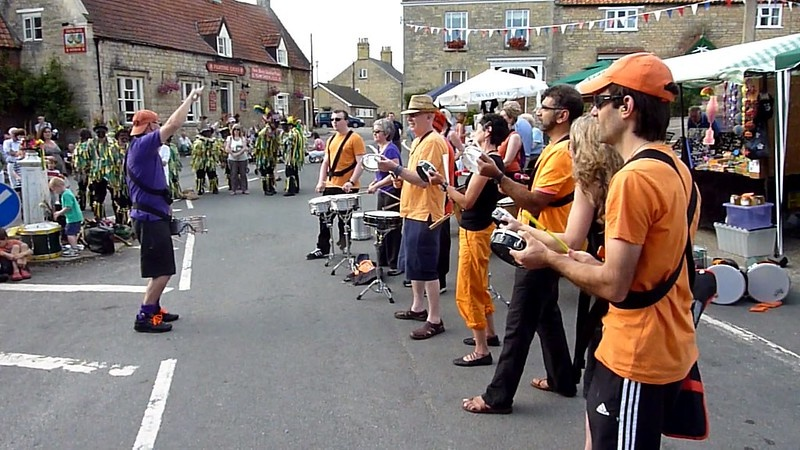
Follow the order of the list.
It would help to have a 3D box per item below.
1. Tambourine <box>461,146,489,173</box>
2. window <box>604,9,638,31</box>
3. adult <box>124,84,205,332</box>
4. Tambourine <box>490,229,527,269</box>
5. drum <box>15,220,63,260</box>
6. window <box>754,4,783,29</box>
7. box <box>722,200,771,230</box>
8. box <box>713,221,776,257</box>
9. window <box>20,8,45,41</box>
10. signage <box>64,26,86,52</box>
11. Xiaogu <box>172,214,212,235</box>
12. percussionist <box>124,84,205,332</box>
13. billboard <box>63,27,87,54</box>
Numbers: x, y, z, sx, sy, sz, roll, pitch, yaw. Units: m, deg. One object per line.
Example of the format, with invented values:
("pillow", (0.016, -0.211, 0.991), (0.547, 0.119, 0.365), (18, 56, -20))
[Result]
("Tambourine", (0.928, -0.825, 8.300), (0.262, 0.335, 0.142), (24, 54, 19))
("window", (12.910, -11.796, 37.334), (2.187, 1.195, 1.869), (-1, 13, 0))
("adult", (-3.760, -0.043, 10.011), (0.961, 3.381, 0.680), (-6, 15, -21))
("Tambourine", (1.125, 0.233, 6.902), (0.388, 0.383, 0.142), (19, 60, 35))
("drum", (-7.101, 0.270, 12.821), (0.689, 0.608, 0.692), (-5, 11, -39))
("window", (21.095, -11.817, 36.968), (1.311, 1.269, 0.914), (5, 14, 22))
("box", (6.647, -0.199, 12.518), (0.494, 0.332, 0.650), (-1, 10, -4))
("box", (6.601, 0.280, 12.611), (0.592, 0.422, 0.837), (0, 6, -12))
("window", (-17.605, -9.525, 30.996), (1.435, 1.488, 0.457), (6, 15, 25))
("signage", (-14.919, -8.575, 29.838), (1.252, 1.211, 0.129), (3, 2, 18))
("Xiaogu", (-3.392, 0.023, 10.539), (0.454, 0.328, 0.164), (-9, 27, -23))
("percussionist", (-3.762, -0.043, 10.014), (0.959, 3.381, 0.687), (-6, 15, -21))
("billboard", (-14.914, -8.521, 29.842), (1.261, 1.224, 0.140), (4, 3, 17))
